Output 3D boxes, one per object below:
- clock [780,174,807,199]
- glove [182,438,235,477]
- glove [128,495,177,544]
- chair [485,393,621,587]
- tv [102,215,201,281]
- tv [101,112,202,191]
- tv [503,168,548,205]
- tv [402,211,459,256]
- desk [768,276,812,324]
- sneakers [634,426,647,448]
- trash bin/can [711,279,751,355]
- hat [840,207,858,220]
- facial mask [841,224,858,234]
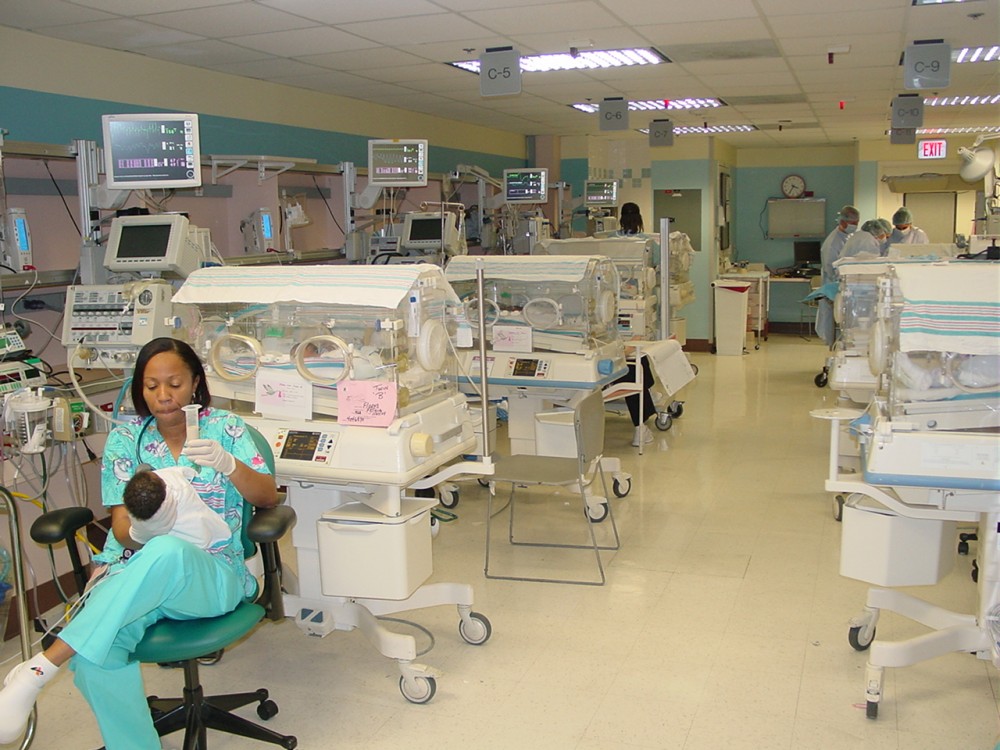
[{"bbox_3d":[4.927,-3.194,13.036,0.439,0.407,0.205,3,12,19],"label":"clock"},{"bbox_3d":[-1.016,0.296,2.756,0.067,0.169,0.185,10,16,43],"label":"glove"},{"bbox_3d":[-1.190,0.520,2.687,0.133,0.143,0.189,-3,15,-17],"label":"glove"},{"bbox_3d":[0.381,0.640,4.671,0.993,1.358,0.953,2,2,7],"label":"chair"},{"bbox_3d":[-1.852,-0.699,4.192,0.478,0.362,0.344,2,9,11],"label":"tv"},{"bbox_3d":[-1.880,-1.202,4.181,0.456,0.344,0.043,-1,7,-1],"label":"tv"},{"bbox_3d":[0.268,-2.132,8.753,0.514,0.443,0.176,0,8,3],"label":"tv"},{"bbox_3d":[-0.637,-1.299,7.063,0.492,0.378,0.386,1,8,11],"label":"tv"},{"bbox_3d":[4.787,-1.271,12.829,0.695,0.680,0.377,1,4,24],"label":"desk"},{"bbox_3d":[1.193,0.527,6.663,0.091,0.141,0.196,-2,7,5],"label":"sneakers"},{"bbox_3d":[3.257,-0.817,11.060,0.472,1.046,0.475,1,12,14],"label":"trash bin/can"},{"bbox_3d":[4.081,-1.930,9.103,0.182,0.157,0.199,-5,1,10],"label":"hat"},{"bbox_3d":[4.137,-1.736,9.273,0.174,0.114,0.192,-6,3,-28],"label":"facial mask"}]
